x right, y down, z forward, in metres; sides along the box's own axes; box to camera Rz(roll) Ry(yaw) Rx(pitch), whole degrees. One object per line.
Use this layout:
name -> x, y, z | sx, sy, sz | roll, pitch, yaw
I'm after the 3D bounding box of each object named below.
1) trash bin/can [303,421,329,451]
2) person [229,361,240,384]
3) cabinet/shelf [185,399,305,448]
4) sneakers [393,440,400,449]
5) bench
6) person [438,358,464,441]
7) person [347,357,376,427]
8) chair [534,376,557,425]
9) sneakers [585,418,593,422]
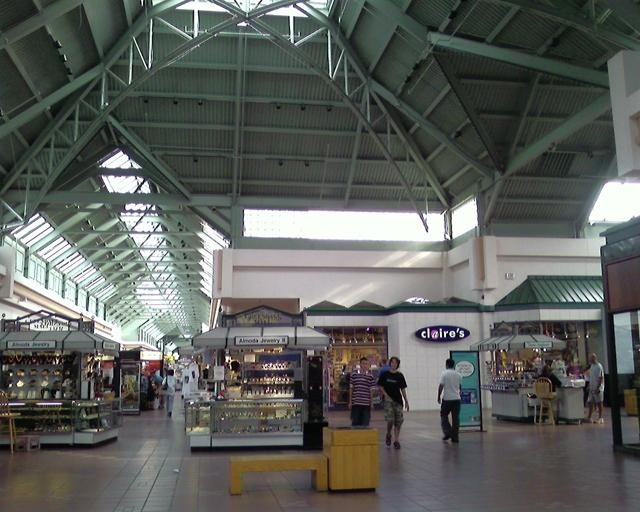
trash bin/can -> -0.116, 4.217, 14.540 | 0.556, 0.663, 0.306 | -1, -12, -4
person -> -2.343, 3.220, 17.065 | 0.267, 0.708, 1.296 | 0, -14, -8
cabinet/shelf -> -1.723, 3.981, 14.583 | 2.680, 1.150, 0.277 | 0, -12, -6
sneakers -> 1.715, 4.240, 13.881 | 0.159, 0.219, 0.442 | 0, -17, -2
bench -> -0.696, 3.742, 10.704 | 1.617, 0.577, 1.147 | -1, -13, -4
person -> 3.166, 3.497, 15.028 | 0.530, 1.980, 1.395 | -4, -13, 10
person -> 0.989, 3.381, 14.469 | 0.499, 1.834, 0.438 | 2, 6, 10
chair -> 6.555, 4.232, 18.027 | 0.544, 1.331, 0.991 | -6, -13, 20
sneakers -> 7.855, 4.817, 18.096 | 0.200, 0.119, 0.447 | -8, -15, 23
